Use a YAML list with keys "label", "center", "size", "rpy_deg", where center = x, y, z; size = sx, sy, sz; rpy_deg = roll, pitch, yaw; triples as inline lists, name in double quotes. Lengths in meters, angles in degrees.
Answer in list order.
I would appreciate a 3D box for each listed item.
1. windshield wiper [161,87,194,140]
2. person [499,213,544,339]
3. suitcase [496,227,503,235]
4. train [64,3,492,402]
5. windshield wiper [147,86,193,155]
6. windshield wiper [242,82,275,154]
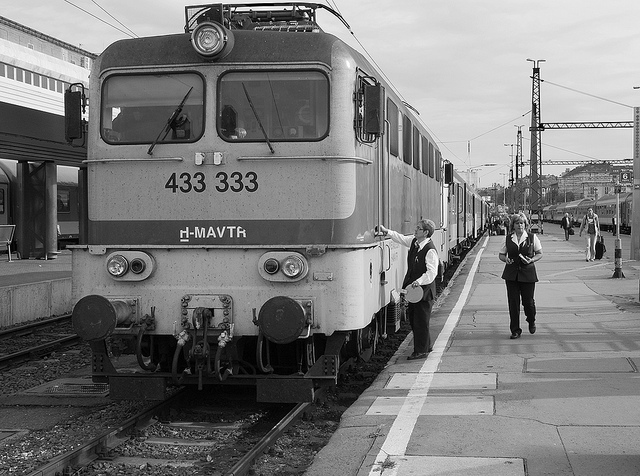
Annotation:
- label: "windshield wiper"
  center: [-1.645, -1.405, 7.596]
  size: [0.044, 0.695, 0.056]
  rpy_deg: [23, -15, 36]
- label: "person"
  center: [3.303, 0.604, 10.993]
  size: [0.827, 2.054, 0.597]
  rpy_deg: [-1, -1, -42]
- label: "suitcase"
  center: [13.682, -0.544, 50.184]
  size: [0.427, 0.484, 0.843]
  rpy_deg: [-2, -2, 17]
- label: "train"
  center: [-0.632, -0.506, 8.238]
  size: [4.700, 3.923, 2.437]
  rpy_deg: [-2, 0, -24]
- label: "windshield wiper"
  center: [-1.723, -1.333, 7.603]
  size: [0.088, 0.867, 0.098]
  rpy_deg: [31, 4, 3]
- label: "windshield wiper"
  center: [-0.698, -1.350, 7.493]
  size: [0.052, 0.885, 0.070]
  rpy_deg: [-13, 19, 43]
